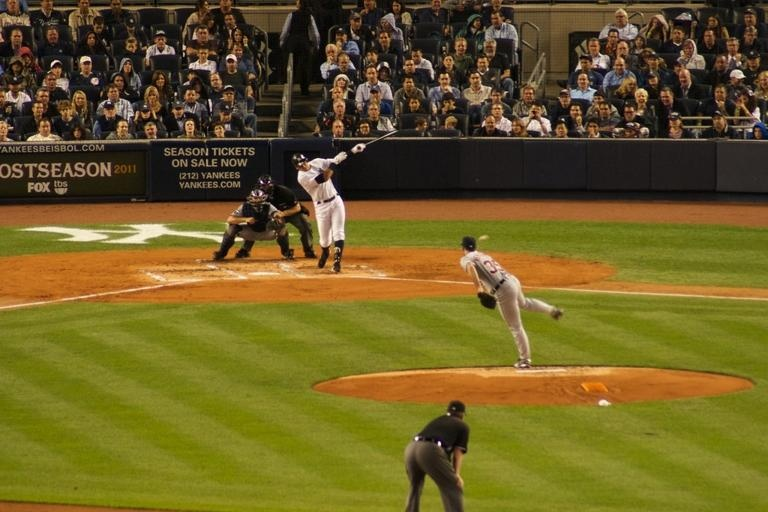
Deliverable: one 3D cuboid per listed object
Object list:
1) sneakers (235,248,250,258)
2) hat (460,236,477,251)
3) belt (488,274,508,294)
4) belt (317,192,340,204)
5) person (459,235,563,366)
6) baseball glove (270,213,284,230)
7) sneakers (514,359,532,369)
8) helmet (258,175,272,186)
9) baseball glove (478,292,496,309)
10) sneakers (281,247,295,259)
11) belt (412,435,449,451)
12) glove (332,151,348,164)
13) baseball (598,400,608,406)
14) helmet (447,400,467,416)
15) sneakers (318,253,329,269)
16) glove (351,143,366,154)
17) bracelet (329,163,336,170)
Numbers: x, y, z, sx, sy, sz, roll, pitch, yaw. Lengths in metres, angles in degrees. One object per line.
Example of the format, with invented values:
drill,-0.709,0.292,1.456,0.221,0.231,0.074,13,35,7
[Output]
sneakers,-3.056,-0.028,25.047,0.309,0.190,0.157,13,19,6
hat,1.273,-0.167,18.094,0.240,0.271,0.280,0,27,-1
belt,1.745,0.467,18.139,0.057,0.243,0.219,46,5,-2
belt,-1.162,-1.114,23.355,0.412,0.201,0.149,-2,7,-34
person,1.850,0.779,18.244,1.476,2.063,0.604,-1,7,-27
baseball glove,-2.219,-0.672,23.918,0.247,0.394,0.467,1,6,-5
sneakers,2.156,1.733,18.392,0.121,0.135,0.316,0,8,-8
helmet,-2.486,-1.546,23.839,0.230,0.266,0.272,6,-4,-1
baseball glove,1.554,0.697,17.958,0.237,0.288,0.464,3,5,11
sneakers,-2.087,-0.010,24.852,0.247,0.172,0.238,1,3,24
belt,0.570,2.283,14.342,0.267,0.074,0.255,16,-6,-8
glove,-0.914,-1.902,23.268,0.201,0.226,0.402,5,6,32
baseball,3.266,2.226,17.528,0.170,0.074,0.205,2,5,7
helmet,0.888,1.923,14.594,0.160,0.116,0.211,9,21,22
sneakers,-1.289,0.102,23.688,0.143,0.382,0.176,37,21,29
glove,-0.552,-2.135,23.563,0.171,0.236,0.751,-32,-2,1
bracelet,-1.053,-1.742,23.093,0.134,0.121,0.123,-1,43,0
